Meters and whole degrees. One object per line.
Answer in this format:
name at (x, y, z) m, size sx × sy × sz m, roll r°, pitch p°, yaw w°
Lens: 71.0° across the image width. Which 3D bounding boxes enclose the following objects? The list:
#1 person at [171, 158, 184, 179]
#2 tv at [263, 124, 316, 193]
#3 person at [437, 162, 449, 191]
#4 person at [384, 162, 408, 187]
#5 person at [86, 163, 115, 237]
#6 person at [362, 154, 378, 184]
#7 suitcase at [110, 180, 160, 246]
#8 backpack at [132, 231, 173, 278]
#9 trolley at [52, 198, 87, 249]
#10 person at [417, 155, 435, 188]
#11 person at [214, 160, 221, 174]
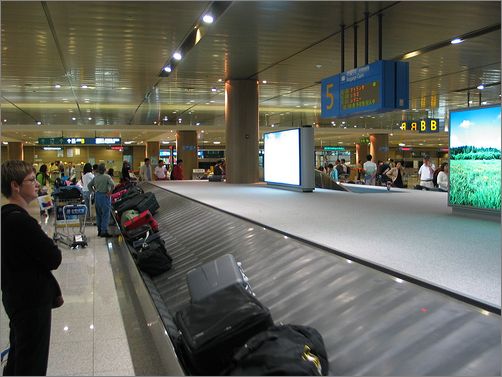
person at (-3.242, -0.835, 15.458) m, size 0.439 × 0.881 × 2.971 m, roll -3°, pitch 6°, yaw -12°
tv at (0.935, -0.671, 8.592) m, size 0.317 × 1.418 × 1.972 m, roll -3°, pitch 2°, yaw -18°
person at (4.787, -0.312, 8.733) m, size 0.225 × 0.667 × 0.945 m, roll 2°, pitch 7°, yaw 26°
person at (4.736, -0.450, 11.445) m, size 0.532 × 0.890 × 1.729 m, roll 1°, pitch 7°, yaw 22°
person at (-3.647, 0.298, 8.589) m, size 0.544 × 1.850 × 0.784 m, roll -5°, pitch 7°, yaw -30°
person at (4.374, -0.668, 12.827) m, size 0.404 × 1.081 × 1.264 m, roll 1°, pitch 7°, yaw 19°
suitcase at (-2.397, 0.492, 7.168) m, size 0.693 × 0.801 × 2.652 m, roll -29°, pitch 19°, yaw -8°
backpack at (-1.364, 0.916, 4.782) m, size 0.429 × 0.602 × 0.567 m, roll -25°, pitch -2°, yaw -24°
trolley at (-4.338, 0.793, 8.498) m, size 0.697 × 1.101 × 1.878 m, roll -3°, pitch 4°, yaw -35°
person at (4.910, -0.459, 9.749) m, size 0.387 × 0.945 × 1.650 m, roll 2°, pitch 7°, yaw 27°
person at (-1.369, -0.866, 14.566) m, size 0.313 × 0.523 × 0.759 m, roll -2°, pitch 6°, yaw -4°
